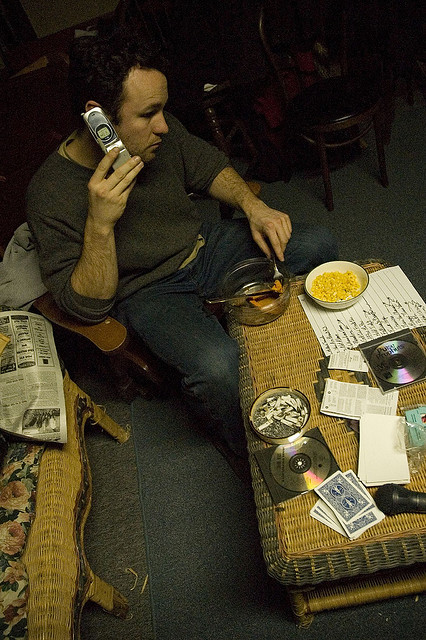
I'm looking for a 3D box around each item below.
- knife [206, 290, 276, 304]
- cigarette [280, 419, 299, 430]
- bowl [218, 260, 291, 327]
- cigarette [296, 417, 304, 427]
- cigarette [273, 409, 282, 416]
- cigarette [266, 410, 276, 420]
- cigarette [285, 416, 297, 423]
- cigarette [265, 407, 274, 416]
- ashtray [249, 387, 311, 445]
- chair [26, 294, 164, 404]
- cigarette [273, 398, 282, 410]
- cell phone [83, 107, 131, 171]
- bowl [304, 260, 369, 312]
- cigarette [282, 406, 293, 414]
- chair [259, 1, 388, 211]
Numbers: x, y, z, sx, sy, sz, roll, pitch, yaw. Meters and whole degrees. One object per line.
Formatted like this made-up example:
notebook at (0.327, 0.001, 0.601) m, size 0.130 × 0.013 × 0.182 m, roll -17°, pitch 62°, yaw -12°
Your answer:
knife at (0.101, -0.075, 1.552) m, size 0.253 × 0.025 × 0.027 m, roll -7°, pitch 78°, yaw -5°
cigarette at (0.192, 0.260, 1.168) m, size 0.047 × 0.015 × 0.018 m, roll 38°, pitch 104°, yaw 38°
bowl at (0.159, -0.073, 1.598) m, size 0.253 × 0.098 × 0.216 m, roll -26°, pitch 58°, yaw 5°
cigarette at (0.216, 0.254, 1.163) m, size 0.013 × 0.005 × 0.023 m, roll 0°, pitch 47°, yaw 31°
cigarette at (0.166, 0.239, 1.195) m, size 0.009 × 0.003 × 0.016 m, roll 30°, pitch 69°, yaw 35°
cigarette at (0.147, 0.247, 1.195) m, size 0.019 × 0.006 × 0.017 m, roll -4°, pitch 61°, yaw 16°
cigarette at (0.197, 0.251, 1.172) m, size 0.018 × 0.004 × 0.012 m, roll 23°, pitch 75°, yaw 23°
cigarette at (0.146, 0.238, 1.205) m, size 0.008 × 0.011 × 0.035 m, roll 17°, pitch 46°, yaw 24°
ashtray at (0.172, 0.243, 1.189) m, size 0.129 × 0.030 × 0.133 m, roll -6°, pitch 54°, yaw 8°
chair at (-0.405, 0.107, 1.661) m, size 0.255 × 0.373 × 0.285 m, roll -9°, pitch 70°, yaw 3°
cigarette at (0.168, 0.220, 1.211) m, size 0.008 × 0.002 × 0.030 m, roll 9°, pitch 47°, yaw 45°
cell phone at (-0.300, -0.520, 1.324) m, size 0.067 × 0.170 × 0.098 m, roll -17°, pitch 38°, yaw 9°
bowl at (0.374, -0.113, 1.437) m, size 0.176 × 0.063 × 0.171 m, roll -8°, pitch 48°, yaw 10°
cigarette at (0.191, 0.231, 1.194) m, size 0.035 × 0.011 × 0.010 m, roll -20°, pitch 68°, yaw -33°
chair at (0.590, -1.236, 2.569) m, size 0.602 × 0.999 × 0.957 m, roll -9°, pitch 40°, yaw 19°
